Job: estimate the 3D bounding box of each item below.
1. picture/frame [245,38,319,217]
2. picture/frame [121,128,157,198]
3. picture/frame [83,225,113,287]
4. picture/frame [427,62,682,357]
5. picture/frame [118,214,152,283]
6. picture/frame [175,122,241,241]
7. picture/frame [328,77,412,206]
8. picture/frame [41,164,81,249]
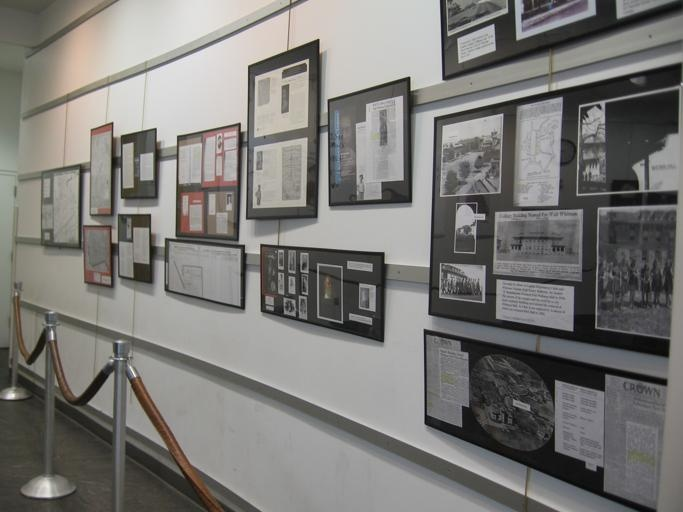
[{"bbox_3d":[-0.337,-0.671,2.773,0.561,0.921,0.072,4,6,43],"label":"picture/frame"},{"bbox_3d":[-1.514,-0.692,3.748,0.500,0.613,0.021,1,-1,39],"label":"picture/frame"},{"bbox_3d":[-2.037,0.003,4.179,0.033,0.521,0.468,-6,5,-43],"label":"picture/frame"},{"bbox_3d":[0.826,-0.167,1.861,1.087,1.021,0.015,2,0,42],"label":"picture/frame"},{"bbox_3d":[-1.567,-0.058,3.797,0.016,0.493,0.437,-7,11,-43],"label":"picture/frame"},{"bbox_3d":[-0.845,-0.477,3.209,0.698,0.788,0.014,4,4,45],"label":"picture/frame"},{"bbox_3d":[0.151,-0.546,2.378,0.586,0.746,0.025,-1,-2,39],"label":"picture/frame"},{"bbox_3d":[-2.616,-0.458,4.663,0.013,0.627,0.746,0,-1,-44],"label":"picture/frame"}]
